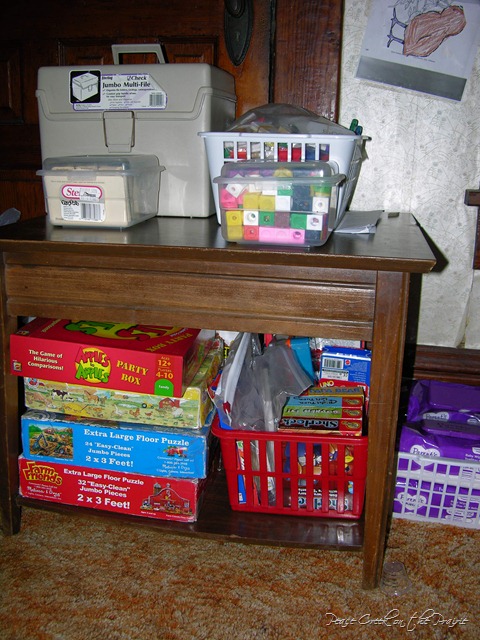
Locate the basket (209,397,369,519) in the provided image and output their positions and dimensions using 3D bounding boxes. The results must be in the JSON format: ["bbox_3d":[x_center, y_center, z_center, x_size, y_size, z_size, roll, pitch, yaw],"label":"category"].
[{"bbox_3d":[0.102,0.275,1.044,0.268,0.153,0.188,0,7,7],"label":"basket"}]

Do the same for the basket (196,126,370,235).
[{"bbox_3d":[0.064,-0.280,1.005,0.268,0.155,0.187,4,21,8],"label":"basket"}]

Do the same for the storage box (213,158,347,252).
[{"bbox_3d":[0.062,-0.192,0.796,0.178,0.119,0.143,2,22,6],"label":"storage box"}]

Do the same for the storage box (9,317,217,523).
[{"bbox_3d":[-0.242,0.164,1.151,0.380,0.290,0.389,6,7,2],"label":"storage box"}]
